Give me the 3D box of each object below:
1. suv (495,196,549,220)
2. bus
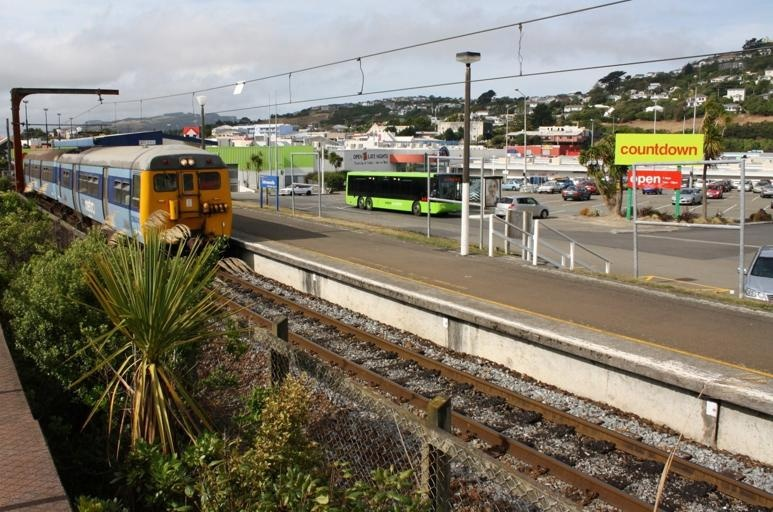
[{"bbox_3d":[8.210,-2.863,39.198,4.726,1.249,2.253,-8,14,-43],"label":"suv"},{"bbox_3d":[0.811,-4.059,41.105,2.469,2.724,9.414,-8,12,-41],"label":"bus"}]
